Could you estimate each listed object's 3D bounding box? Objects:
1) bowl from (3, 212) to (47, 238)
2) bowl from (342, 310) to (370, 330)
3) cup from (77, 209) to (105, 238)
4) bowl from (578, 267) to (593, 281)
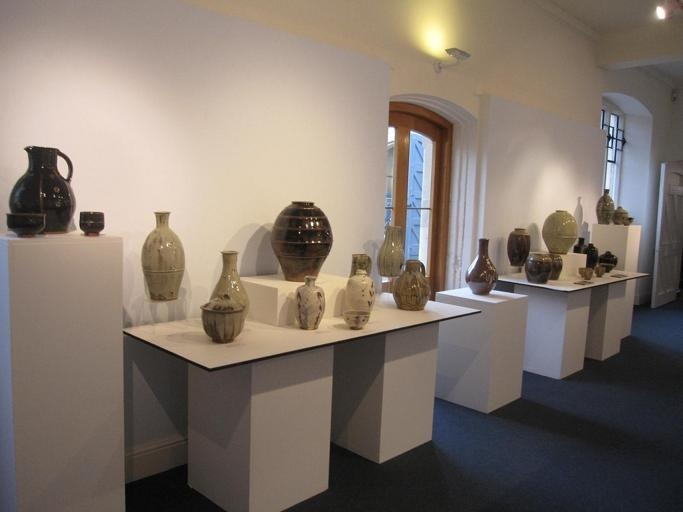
[{"bbox_3d":[-1.451,-0.150,2.350,0.116,0.087,0.122,0,5,0],"label":"bowl"},{"bbox_3d":[0.088,0.370,3.117,0.147,0.112,0.146,2,11,0],"label":"bowl"},{"bbox_3d":[-1.253,-0.162,2.578,0.111,0.142,0.120,3,11,-1],"label":"cup"},{"bbox_3d":[2.491,0.173,5.234,0.114,0.097,0.122,0,7,0],"label":"bowl"}]
